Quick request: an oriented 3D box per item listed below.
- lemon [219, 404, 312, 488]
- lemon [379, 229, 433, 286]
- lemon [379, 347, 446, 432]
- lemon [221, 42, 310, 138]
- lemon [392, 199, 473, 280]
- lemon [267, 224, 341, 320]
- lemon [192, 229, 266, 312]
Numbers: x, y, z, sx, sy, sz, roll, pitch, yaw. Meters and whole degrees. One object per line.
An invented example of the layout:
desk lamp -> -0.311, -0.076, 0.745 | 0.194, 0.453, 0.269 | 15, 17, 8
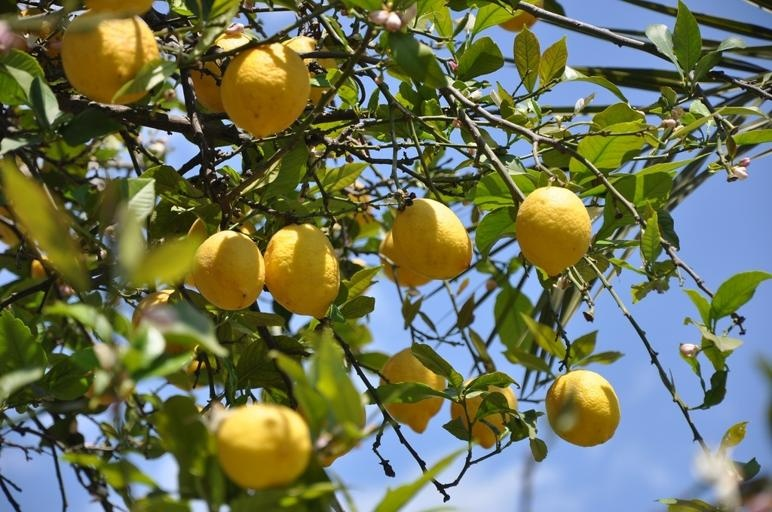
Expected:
lemon -> -0.198, 0.313, 1.579 | 0.146, 0.139, 0.136 | -4, -22, 6
lemon -> 0.031, 0.009, 2.443 | 0.147, 0.147, 0.175 | 0, -82, 7
lemon -> 0.060, 0.298, 2.101 | 0.144, 0.193, 0.223 | -5, -54, 5
lemon -> -0.239, -0.317, 1.859 | 0.190, 0.175, 0.216 | -1, -83, -32
lemon -> 0.095, -0.032, 1.960 | 0.134, 0.178, 0.135 | -24, -14, -19
lemon -> -0.175, 0.028, 1.895 | 0.159, 0.163, 0.144 | 12, -54, -7
lemon -> -0.309, 0.029, 1.883 | 0.127, 0.162, 0.124 | -17, -22, 7
